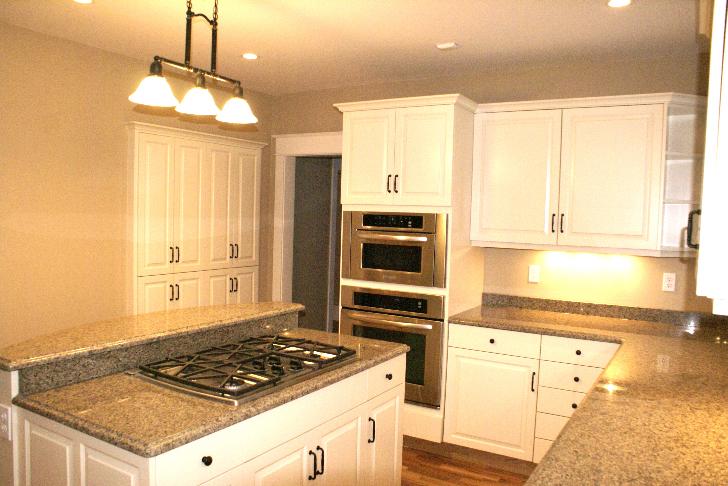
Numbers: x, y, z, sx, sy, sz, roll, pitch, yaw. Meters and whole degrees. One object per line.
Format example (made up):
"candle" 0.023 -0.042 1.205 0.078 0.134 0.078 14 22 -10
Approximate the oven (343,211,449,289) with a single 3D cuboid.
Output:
"oven" 0.382 0.025 4.883 1.072 0.612 0.656 5 7 37

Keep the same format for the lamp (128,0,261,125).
"lamp" -1.306 -1.374 4.151 1.087 0.896 0.330 -1 19 -35

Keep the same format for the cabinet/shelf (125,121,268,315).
"cabinet/shelf" -1.579 -0.211 5.134 0.350 1.712 1.375 11 15 32

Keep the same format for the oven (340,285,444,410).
"oven" 0.334 0.804 4.966 0.954 0.976 0.724 5 8 26
